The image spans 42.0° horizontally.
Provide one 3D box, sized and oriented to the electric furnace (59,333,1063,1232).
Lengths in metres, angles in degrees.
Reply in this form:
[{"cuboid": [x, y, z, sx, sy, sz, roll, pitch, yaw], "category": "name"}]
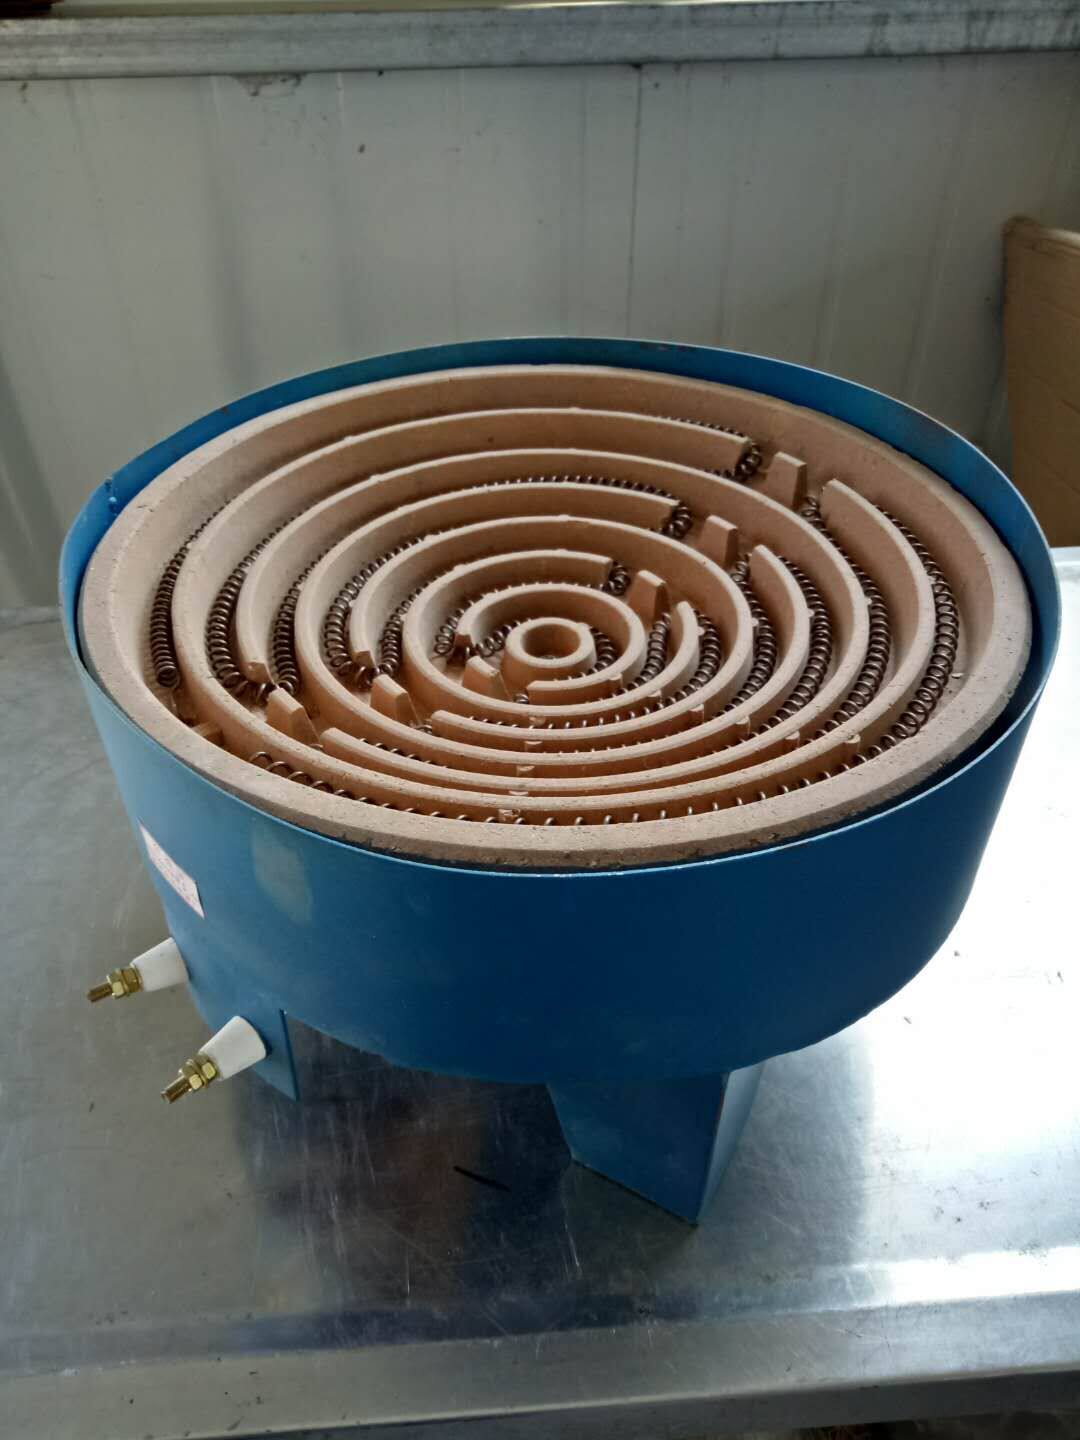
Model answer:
[{"cuboid": [0.046, -0.099, 1.708, 1.137, 0.593, 1.168, 5, 38, 2], "category": "electric furnace"}]
